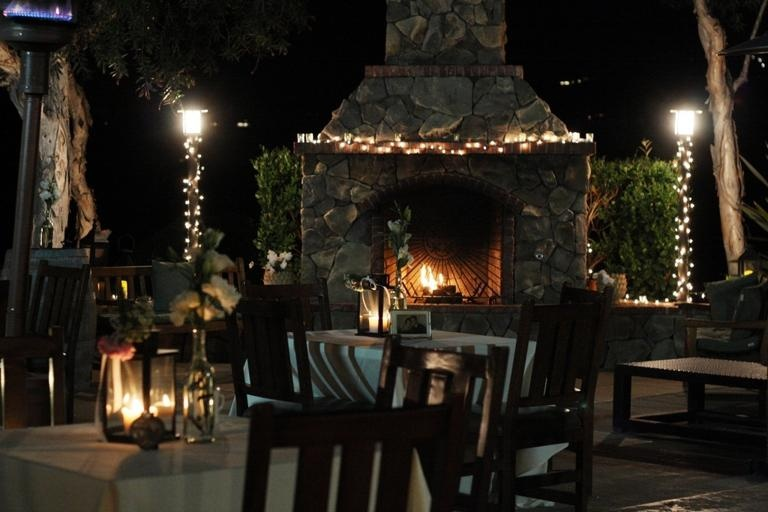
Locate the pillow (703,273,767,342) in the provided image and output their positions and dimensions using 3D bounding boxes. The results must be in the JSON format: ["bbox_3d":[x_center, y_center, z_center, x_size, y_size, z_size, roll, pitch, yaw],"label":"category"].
[{"bbox_3d":[3.271,0.457,7.009,0.240,0.618,0.594,16,-19,-41],"label":"pillow"}]

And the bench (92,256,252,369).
[{"bbox_3d":[-2.349,0.636,8.267,1.696,1.111,0.593,-1,-4,-9],"label":"bench"}]

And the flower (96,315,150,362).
[{"bbox_3d":[-0.922,0.287,2.700,0.168,0.168,0.097,4,-7,-14],"label":"flower"}]

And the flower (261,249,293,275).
[{"bbox_3d":[-1.303,0.064,9.634,0.346,0.337,0.111,-4,0,11],"label":"flower"}]
